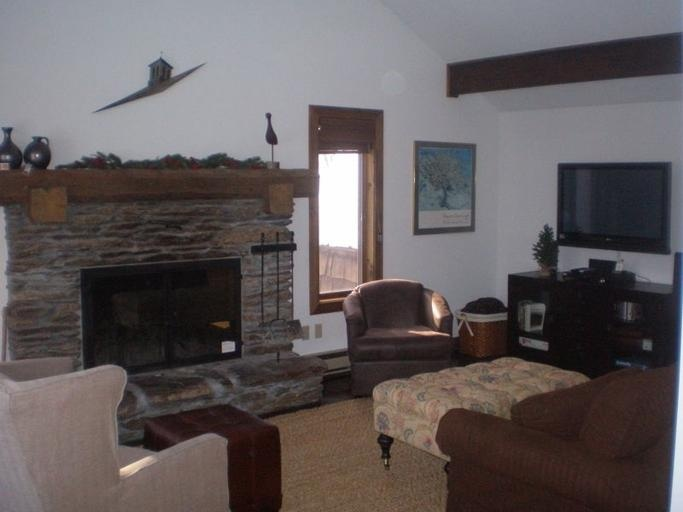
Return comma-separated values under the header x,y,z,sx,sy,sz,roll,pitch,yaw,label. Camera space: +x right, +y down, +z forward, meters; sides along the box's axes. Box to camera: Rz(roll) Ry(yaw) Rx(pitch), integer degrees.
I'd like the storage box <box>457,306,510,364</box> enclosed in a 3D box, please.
x,y,z,sx,sy,sz,roll,pitch,yaw,label
1.591,0.859,6.136,0.564,0.432,0.519,2,-3,-40,storage box

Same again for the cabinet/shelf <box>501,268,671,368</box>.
x,y,z,sx,sy,sz,roll,pitch,yaw,label
2.376,0.593,5.161,0.307,0.563,0.971,-1,2,-30,cabinet/shelf

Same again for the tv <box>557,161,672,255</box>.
x,y,z,sx,sy,sz,roll,pitch,yaw,label
2.691,-0.476,5.295,0.092,0.761,0.914,-6,8,-40,tv

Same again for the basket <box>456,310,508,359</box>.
x,y,z,sx,sy,sz,roll,pitch,yaw,label
1.602,0.827,6.132,0.609,0.443,0.607,1,7,13,basket

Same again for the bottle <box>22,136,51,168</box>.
x,y,z,sx,sy,sz,roll,pitch,yaw,label
-2.219,-0.754,3.986,0.191,0.240,0.186,5,14,-1,bottle
